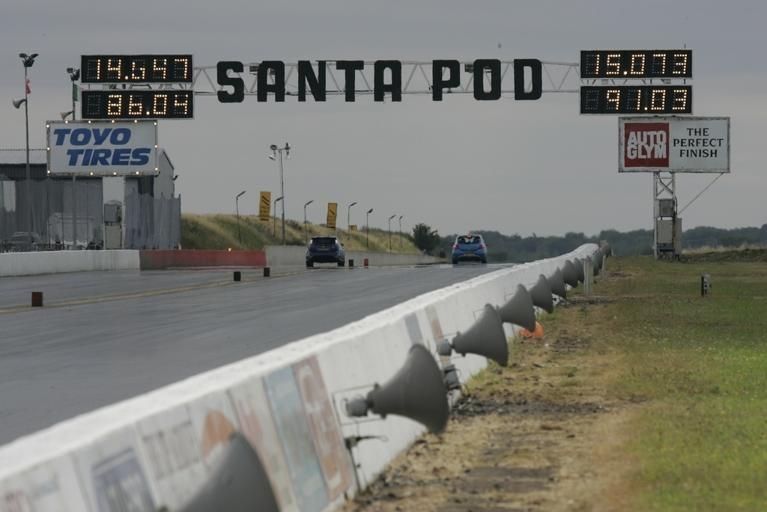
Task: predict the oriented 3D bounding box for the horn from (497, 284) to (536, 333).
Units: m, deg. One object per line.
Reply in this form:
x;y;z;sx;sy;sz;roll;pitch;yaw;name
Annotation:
2.828;1.125;21.541;0.670;1.191;1.059;-4;-5;-6;horn

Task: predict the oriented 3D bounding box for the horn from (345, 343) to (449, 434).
0.231;2.150;15.930;1.219;1.293;1.231;-9;37;-9;horn

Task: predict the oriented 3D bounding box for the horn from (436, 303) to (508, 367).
1.654;1.382;18.690;0.928;1.081;1.068;-5;-17;-5;horn
